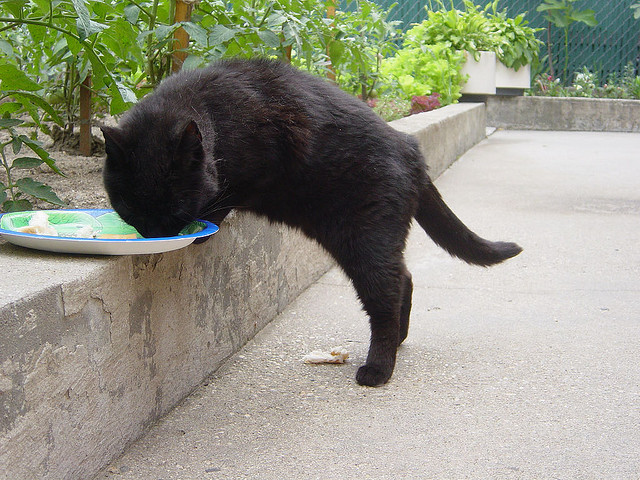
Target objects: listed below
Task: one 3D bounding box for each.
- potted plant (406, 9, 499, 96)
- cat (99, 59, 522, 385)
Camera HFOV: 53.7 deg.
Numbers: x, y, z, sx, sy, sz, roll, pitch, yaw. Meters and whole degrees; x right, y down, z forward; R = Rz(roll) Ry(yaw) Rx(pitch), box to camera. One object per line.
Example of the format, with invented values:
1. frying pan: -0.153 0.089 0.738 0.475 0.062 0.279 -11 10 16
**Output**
1. potted plant: 1.478 -2.496 7.937 0.654 0.740 0.769 -9 14 -27
2. cat: -0.076 -0.090 2.571 1.471 1.219 0.617 1 17 -4
